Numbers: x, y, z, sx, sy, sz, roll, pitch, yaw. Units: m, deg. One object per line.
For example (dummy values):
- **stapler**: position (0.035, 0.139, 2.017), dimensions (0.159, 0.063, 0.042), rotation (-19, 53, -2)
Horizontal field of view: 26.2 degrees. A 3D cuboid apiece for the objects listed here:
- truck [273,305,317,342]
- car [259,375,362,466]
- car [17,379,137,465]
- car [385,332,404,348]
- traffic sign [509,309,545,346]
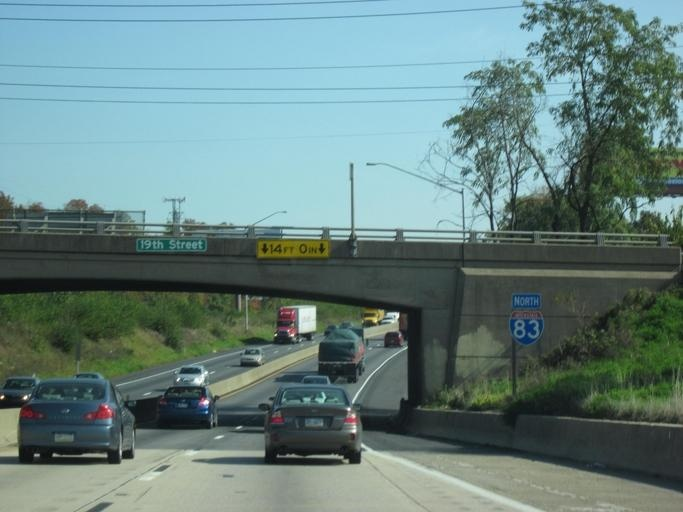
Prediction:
- **truck**: position (-4.322, 6.702, 138.261), dimensions (1.717, 3.745, 6.611), rotation (-1, -7, 13)
- **car**: position (-1.059, 6.825, 59.896), dimensions (2.936, 3.459, 7.383), rotation (2, -7, -3)
- **car**: position (-10.761, 6.646, 59.202), dimensions (3.137, 3.943, 7.060), rotation (1, -6, -7)
- **car**: position (4.674, 7.548, 130.775), dimensions (1.337, 1.565, 3.288), rotation (0, -6, 8)
- **traffic sign**: position (8.195, 3.303, 64.750), dimensions (1.502, 1.922, 0.237), rotation (-1, -39, 10)
